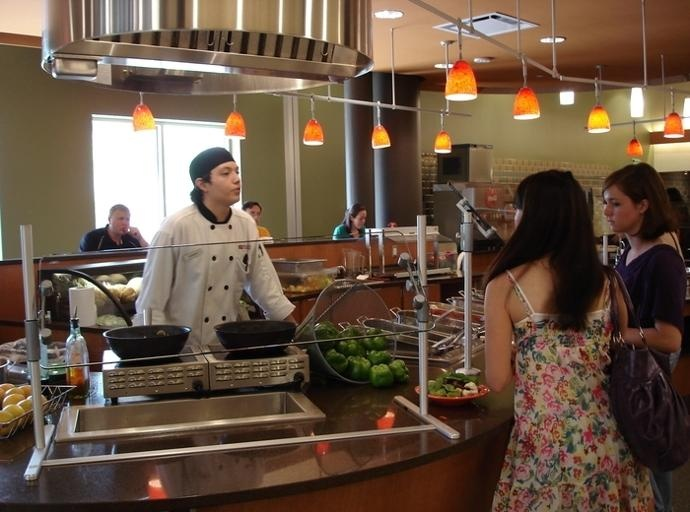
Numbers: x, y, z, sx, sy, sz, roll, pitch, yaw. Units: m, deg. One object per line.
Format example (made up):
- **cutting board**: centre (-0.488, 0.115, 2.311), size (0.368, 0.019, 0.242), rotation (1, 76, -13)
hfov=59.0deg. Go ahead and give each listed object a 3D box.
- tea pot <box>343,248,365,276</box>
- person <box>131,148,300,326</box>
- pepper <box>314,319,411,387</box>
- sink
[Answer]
- **tea pot**: centre (0.077, 0.052, 5.701), size (0.141, 0.237, 0.315), rotation (4, 10, 26)
- **person**: centre (-0.630, -0.096, 2.713), size (0.670, 0.762, 0.693), rotation (-6, 11, -32)
- **pepper**: centre (0.090, 0.391, 2.486), size (0.438, 0.267, 0.207), rotation (-8, 12, -40)
- **sink**: centre (-0.536, 0.569, 2.145), size (0.925, 0.091, 0.238), rotation (-2, 10, -9)
